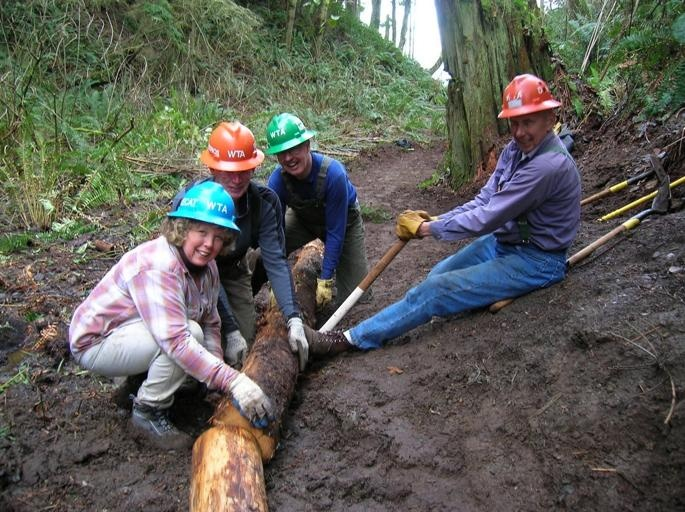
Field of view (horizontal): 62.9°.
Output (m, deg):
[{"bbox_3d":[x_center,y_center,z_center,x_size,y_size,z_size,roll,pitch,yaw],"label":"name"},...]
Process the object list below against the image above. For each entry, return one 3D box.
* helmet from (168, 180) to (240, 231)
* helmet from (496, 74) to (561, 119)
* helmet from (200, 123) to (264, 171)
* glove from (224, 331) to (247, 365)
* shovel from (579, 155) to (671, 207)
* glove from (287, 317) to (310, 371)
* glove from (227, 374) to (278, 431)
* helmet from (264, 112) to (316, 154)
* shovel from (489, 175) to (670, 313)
[{"bbox_3d":[-1.052,-0.381,4.318,0.394,0.267,0.382,20,-5,35],"label":"helmet"},{"bbox_3d":[1.574,-1.373,4.828,0.471,0.354,0.577,-8,3,44],"label":"helmet"},{"bbox_3d":[-0.991,-0.984,4.928,0.405,0.271,0.463,-17,41,-23],"label":"helmet"},{"bbox_3d":[-0.980,0.851,5.109,0.166,0.333,0.088,-7,-10,1],"label":"glove"},{"bbox_3d":[2.862,-0.745,5.625,1.334,0.121,0.158,-23,-24,-14],"label":"shovel"},{"bbox_3d":[-0.377,0.772,4.933,0.187,0.420,0.094,-8,-2,43],"label":"glove"},{"bbox_3d":[-0.680,1.102,4.233,0.241,0.482,0.130,-37,16,-30],"label":"glove"},{"bbox_3d":[-0.493,-1.174,5.290,0.339,0.253,0.422,-10,28,36],"label":"helmet"},{"bbox_3d":[1.993,-0.070,4.799,1.415,0.111,0.447,-37,9,-10],"label":"shovel"}]
